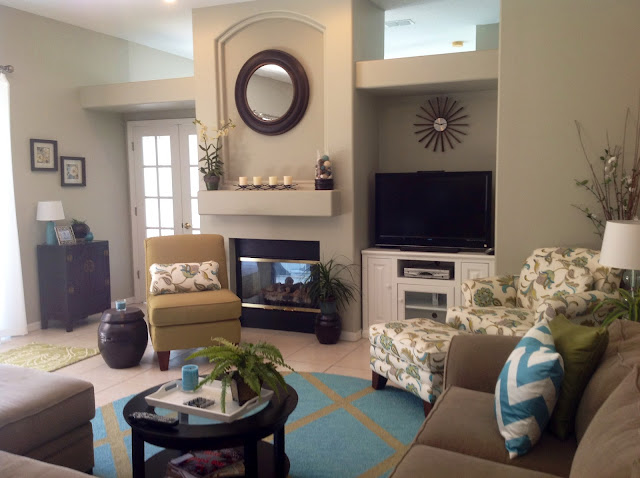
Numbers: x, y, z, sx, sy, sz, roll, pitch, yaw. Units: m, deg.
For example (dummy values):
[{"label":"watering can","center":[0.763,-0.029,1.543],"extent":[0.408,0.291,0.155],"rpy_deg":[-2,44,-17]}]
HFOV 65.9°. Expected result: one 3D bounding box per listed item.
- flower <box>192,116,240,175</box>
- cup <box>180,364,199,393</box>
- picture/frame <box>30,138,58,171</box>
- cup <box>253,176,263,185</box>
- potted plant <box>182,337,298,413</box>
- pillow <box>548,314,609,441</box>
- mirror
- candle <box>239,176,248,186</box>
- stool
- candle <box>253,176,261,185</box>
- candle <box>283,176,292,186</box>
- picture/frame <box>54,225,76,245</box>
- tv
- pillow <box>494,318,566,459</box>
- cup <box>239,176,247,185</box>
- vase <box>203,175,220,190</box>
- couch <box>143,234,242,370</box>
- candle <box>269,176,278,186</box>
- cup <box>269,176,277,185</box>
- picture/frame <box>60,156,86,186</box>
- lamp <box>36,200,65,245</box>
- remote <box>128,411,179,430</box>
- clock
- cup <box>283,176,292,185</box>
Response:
[{"label":"flower","center":[-1.126,-0.987,5.269],"extent":[0.444,0.595,0.303],"rpy_deg":[-1,10,3]},{"label":"cup","center":[-0.745,0.805,2.915],"extent":[0.098,0.131,0.153],"rpy_deg":[1,1,-7]},{"label":"picture/frame","center":[-3.104,-0.952,5.527],"extent":[0.032,0.455,0.400],"rpy_deg":[1,1,32]},{"label":"cup","center":[-0.639,-0.599,5.128],"extent":[0.096,0.089,0.095],"rpy_deg":[2,-1,0]},{"label":"potted plant","center":[-0.452,0.684,2.801],"extent":[0.436,0.204,0.429],"rpy_deg":[0,4,-23]},{"label":"pillow","center":[1.181,0.656,2.268],"extent":[0.237,0.412,0.479],"rpy_deg":[-4,-6,8]},{"label":"mirror","center":[-0.464,-1.535,5.088],"extent":[0.912,0.907,0.051],"rpy_deg":[-2,5,14]},{"label":"candle","center":[-0.800,-0.605,5.158],"extent":[0.093,0.097,0.096],"rpy_deg":[3,2,42]},{"label":"stool","center":[0.857,0.915,3.724],"extent":[0.775,0.527,0.784],"rpy_deg":[-3,7,-21]},{"label":"candle","center":[-0.661,-0.611,5.125],"extent":[0.092,0.102,0.092],"rpy_deg":[1,0,7]},{"label":"candle","center":[-0.337,-0.606,5.068],"extent":[0.095,0.106,0.093],"rpy_deg":[-4,8,-44]},{"label":"picture/frame","center":[-2.892,-0.046,5.584],"extent":[0.025,0.244,0.237],"rpy_deg":[-22,-8,20]},{"label":"tv","center":[1.179,-0.288,4.959],"extent":[0.828,0.587,0.117],"rpy_deg":[1,2,18]},{"label":"pillow","center":[0.973,0.685,2.540],"extent":[0.412,0.650,0.797],"rpy_deg":[-2,4,18]},{"label":"cup","center":[-0.821,-0.615,5.154],"extent":[0.088,0.093,0.099],"rpy_deg":[2,2,6]},{"label":"vase","center":[-1.133,-0.594,5.201],"extent":[0.159,0.120,0.158],"rpy_deg":[0,3,6]},{"label":"couch","center":[-1.175,0.464,4.866],"extent":[0.975,1.305,1.200],"rpy_deg":[-2,3,-21]},{"label":"candle","center":[-0.476,-0.588,5.021],"extent":[0.094,0.104,0.094],"rpy_deg":[1,2,8]},{"label":"cup","center":[-0.495,-0.595,5.034],"extent":[0.092,0.089,0.094],"rpy_deg":[2,2,0]},{"label":"picture/frame","center":[-2.935,-0.812,5.841],"extent":[0.026,0.370,0.376],"rpy_deg":[2,4,28]},{"label":"lamp","center":[-3.028,-0.198,5.553],"extent":[0.259,0.472,0.335],"rpy_deg":[-7,11,-29]},{"label":"remote","center":[-0.855,0.904,2.558],"extent":[0.190,0.039,0.098],"rpy_deg":[9,2,16]},{"label":"clock","center":[1.271,-1.216,5.237],"extent":[0.595,0.578,0.047],"rpy_deg":[-2,13,-14]},{"label":"cup","center":[-0.341,-0.608,5.056],"extent":[0.090,0.099,0.088],"rpy_deg":[2,9,0]}]
